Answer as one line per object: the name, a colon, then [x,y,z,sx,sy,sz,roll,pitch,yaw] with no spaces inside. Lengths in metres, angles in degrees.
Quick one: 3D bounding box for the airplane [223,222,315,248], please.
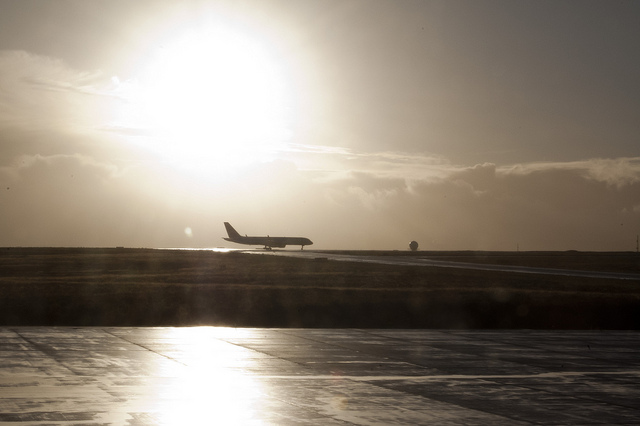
airplane: [-14.946,6.320,214.442,21.187,6.536,34.711,-1,-1,-7]
